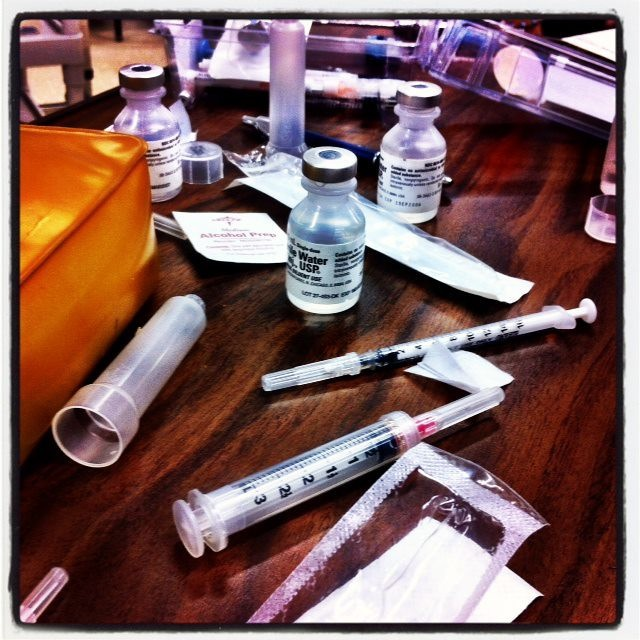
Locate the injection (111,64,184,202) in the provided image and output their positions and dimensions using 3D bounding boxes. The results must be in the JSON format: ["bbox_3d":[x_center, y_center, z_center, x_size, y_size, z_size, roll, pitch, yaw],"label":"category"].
[{"bbox_3d":[-0.238,-0.239,0.841,0.111,0.155,0.091,10,34,1],"label":"injection"}]

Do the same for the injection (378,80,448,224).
[{"bbox_3d":[0.121,-0.216,0.837,0.089,0.167,0.159,15,37,16],"label":"injection"}]

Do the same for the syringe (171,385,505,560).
[{"bbox_3d":[-0.016,0.077,0.526,0.249,0.084,0.157,-12,32,-26],"label":"syringe"}]
